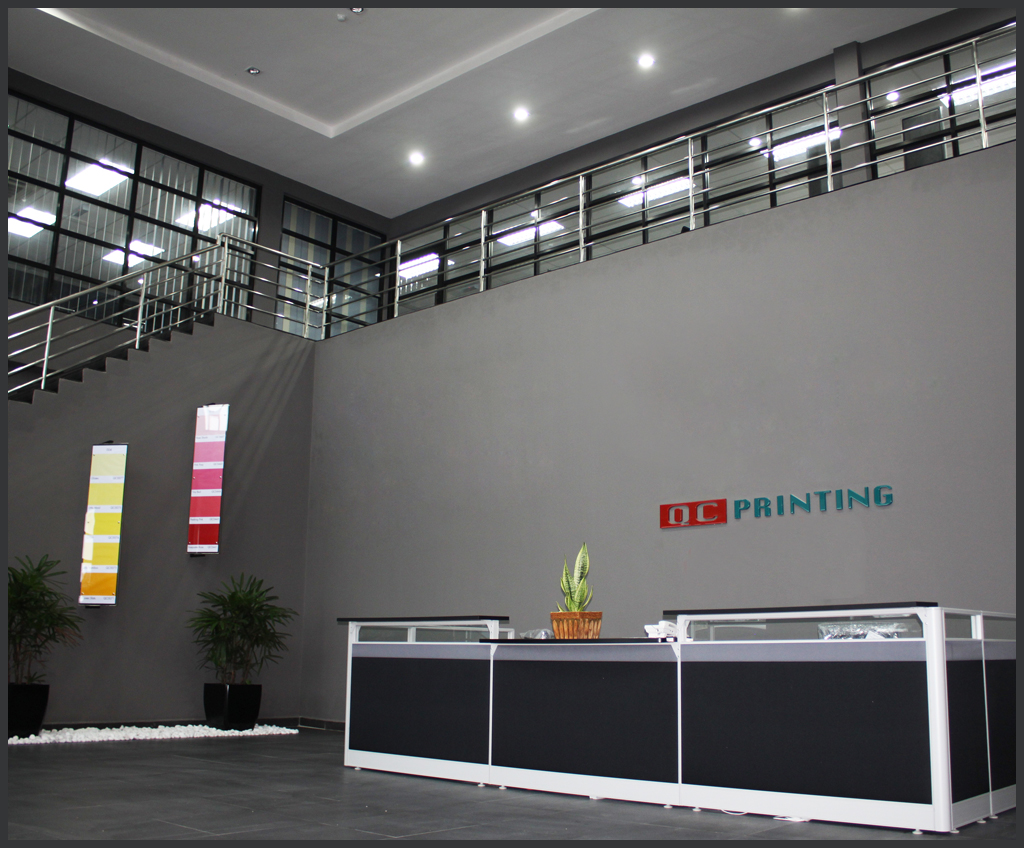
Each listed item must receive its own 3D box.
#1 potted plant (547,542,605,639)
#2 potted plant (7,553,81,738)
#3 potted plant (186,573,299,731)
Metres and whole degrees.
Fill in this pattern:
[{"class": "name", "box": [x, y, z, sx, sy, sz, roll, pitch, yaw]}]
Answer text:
[{"class": "potted plant", "box": [0.475, 1.261, 6.222, 0.350, 0.650, 0.353, 5, -14, -27]}, {"class": "potted plant", "box": [-4.775, 2.191, 8.381, 0.654, 1.752, 1.007, 7, -15, -27]}, {"class": "potted plant", "box": [-3.247, 2.825, 9.867, 1.012, 1.603, 0.962, 4, -22, -15]}]
